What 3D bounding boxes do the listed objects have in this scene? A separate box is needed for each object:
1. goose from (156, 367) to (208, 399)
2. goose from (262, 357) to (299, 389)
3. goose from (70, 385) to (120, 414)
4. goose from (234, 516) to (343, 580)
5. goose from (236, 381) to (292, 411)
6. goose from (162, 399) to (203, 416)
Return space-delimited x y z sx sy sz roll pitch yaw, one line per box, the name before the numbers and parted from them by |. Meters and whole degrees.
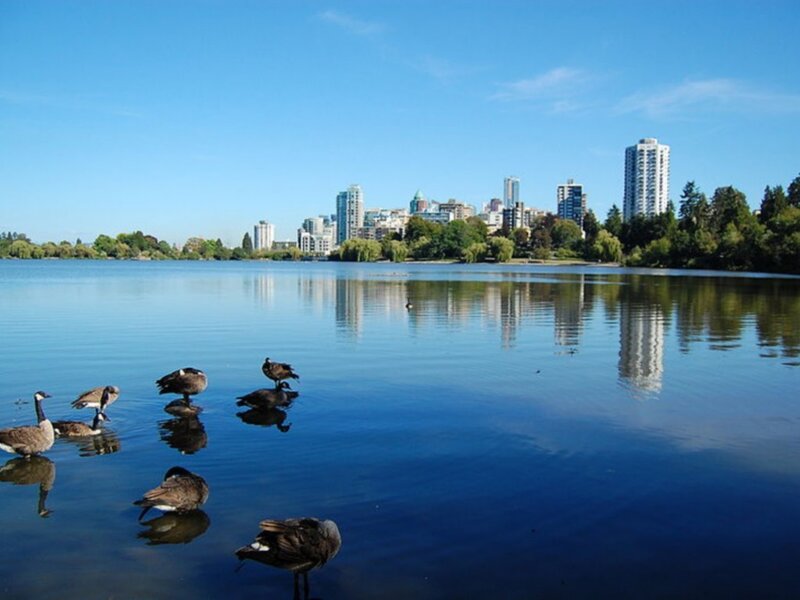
goose | -5.170 1.934 18.043 1.219 0.787 0.662 4 3 0
goose | -3.299 1.903 19.864 0.701 0.751 1.220 11 -13 -33
goose | -6.780 2.175 16.785 0.893 0.484 0.549 -1 7 -9
goose | -1.787 3.861 11.936 1.564 0.959 0.861 12 -6 -24
goose | -3.181 2.335 18.211 1.258 0.703 0.537 4 -6 -26
goose | -5.060 2.488 17.586 0.848 0.333 0.538 4 8 27
